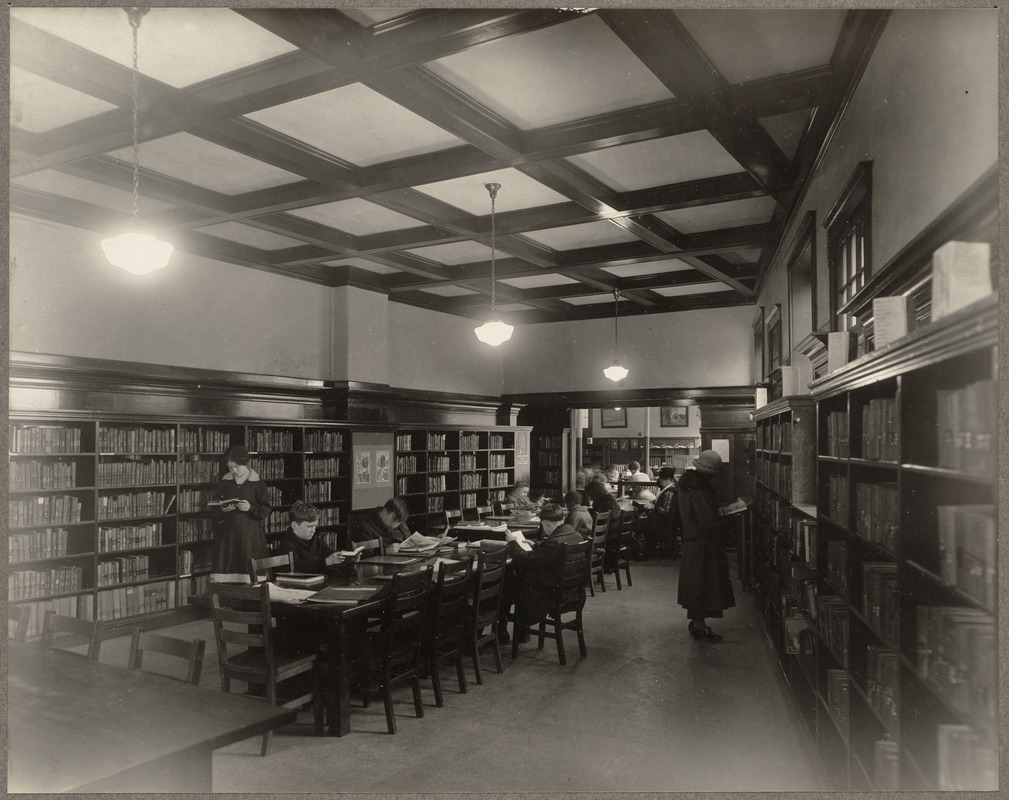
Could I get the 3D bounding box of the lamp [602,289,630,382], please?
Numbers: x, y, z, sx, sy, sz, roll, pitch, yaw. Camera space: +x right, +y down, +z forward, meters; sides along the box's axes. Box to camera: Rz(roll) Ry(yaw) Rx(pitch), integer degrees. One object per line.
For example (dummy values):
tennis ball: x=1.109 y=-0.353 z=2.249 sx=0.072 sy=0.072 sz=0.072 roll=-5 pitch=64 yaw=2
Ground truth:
lamp: x=1.721 y=-0.892 z=11.827 sx=0.413 sy=1.315 sz=1.479 roll=2 pitch=3 yaw=8

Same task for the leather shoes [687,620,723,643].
leather shoes: x=1.878 y=2.149 z=7.230 sx=0.126 sy=0.148 sz=0.335 roll=3 pitch=-9 yaw=-27
